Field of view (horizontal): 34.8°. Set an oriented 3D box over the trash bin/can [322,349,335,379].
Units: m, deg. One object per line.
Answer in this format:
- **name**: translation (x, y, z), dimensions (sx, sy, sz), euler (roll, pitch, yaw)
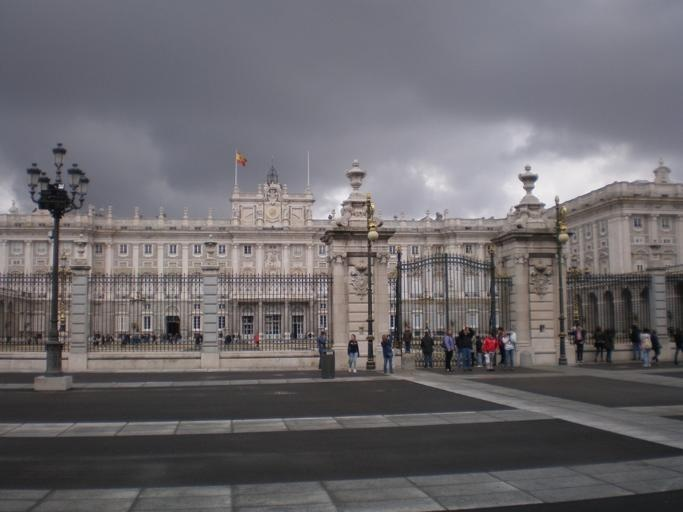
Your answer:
- **trash bin/can**: translation (-0.489, 4.014, 38.855), dimensions (0.418, 0.863, 0.423), euler (0, -7, 2)
